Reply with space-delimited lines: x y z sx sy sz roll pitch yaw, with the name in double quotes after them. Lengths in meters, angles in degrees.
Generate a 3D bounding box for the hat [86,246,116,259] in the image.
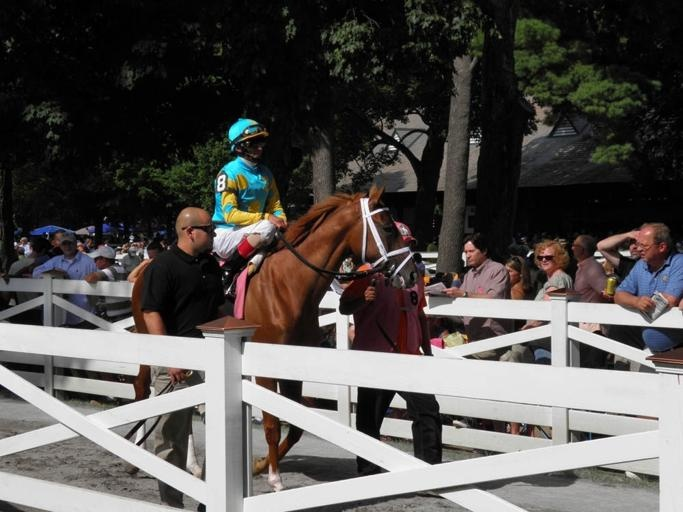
-4.924 -0.053 18.955 0.523 0.210 0.355 1 -3 9 "hat"

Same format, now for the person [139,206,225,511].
-1.643 0.997 9.201 0.768 2.970 1.117 0 0 8 "person"

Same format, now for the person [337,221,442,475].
0.579 0.973 9.319 0.827 1.941 1.245 0 0 -40 "person"

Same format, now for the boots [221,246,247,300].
-1.132 0.180 10.029 0.163 0.465 0.394 34 9 -31 "boots"

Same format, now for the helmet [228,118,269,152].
-1.050 -1.401 10.333 0.454 0.296 0.353 -12 2 43 "helmet"
